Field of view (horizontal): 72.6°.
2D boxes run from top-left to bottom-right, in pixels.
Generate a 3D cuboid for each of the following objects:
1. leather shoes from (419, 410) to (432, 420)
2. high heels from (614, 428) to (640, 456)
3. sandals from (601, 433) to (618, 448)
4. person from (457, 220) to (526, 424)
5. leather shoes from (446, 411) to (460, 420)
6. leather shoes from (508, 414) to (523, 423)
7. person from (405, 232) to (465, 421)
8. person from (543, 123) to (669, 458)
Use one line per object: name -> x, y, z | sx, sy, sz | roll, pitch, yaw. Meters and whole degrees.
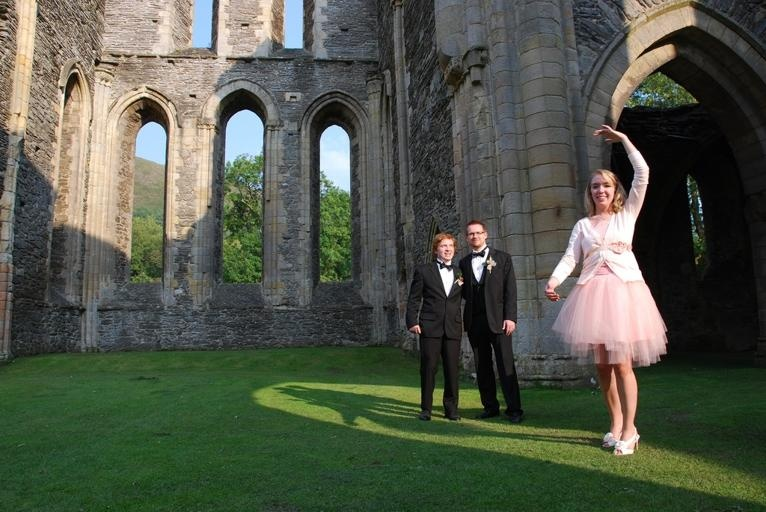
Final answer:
leather shoes -> 0.549, 2.062, 6.764 | 0.177, 0.079, 0.200 | -2, 1, 2
high heels -> 2.574, 1.953, 5.425 | 0.385, 0.135, 0.136 | 5, -21, -45
sandals -> 2.408, 1.961, 5.537 | 0.102, 0.054, 0.163 | -1, 2, 14
person -> 1.441, 0.841, 6.864 | 0.605, 2.618, 0.865 | -2, 1, -23
leather shoes -> 0.911, 2.074, 6.754 | 0.077, 0.078, 0.204 | 3, -10, -23
leather shoes -> 1.671, 2.041, 6.526 | 0.143, 0.047, 0.085 | -1, 32, -22
person -> 0.706, 0.934, 6.932 | 0.720, 2.466, 0.629 | -2, 1, 6
person -> 2.403, 0.309, 5.557 | 1.064, 3.446, 0.548 | -2, 1, 21
